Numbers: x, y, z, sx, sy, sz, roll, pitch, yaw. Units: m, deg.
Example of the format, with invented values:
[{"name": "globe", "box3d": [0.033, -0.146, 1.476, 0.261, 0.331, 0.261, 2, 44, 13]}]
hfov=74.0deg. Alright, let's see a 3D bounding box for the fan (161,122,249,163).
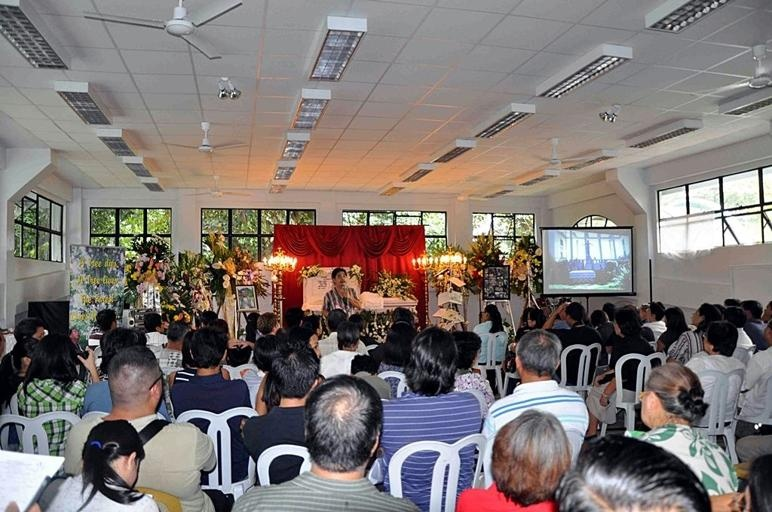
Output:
[{"name": "fan", "box3d": [-3.192, -2.045, 9.314, 0.824, 0.267, 0.736, -3, -11, -3]}]
